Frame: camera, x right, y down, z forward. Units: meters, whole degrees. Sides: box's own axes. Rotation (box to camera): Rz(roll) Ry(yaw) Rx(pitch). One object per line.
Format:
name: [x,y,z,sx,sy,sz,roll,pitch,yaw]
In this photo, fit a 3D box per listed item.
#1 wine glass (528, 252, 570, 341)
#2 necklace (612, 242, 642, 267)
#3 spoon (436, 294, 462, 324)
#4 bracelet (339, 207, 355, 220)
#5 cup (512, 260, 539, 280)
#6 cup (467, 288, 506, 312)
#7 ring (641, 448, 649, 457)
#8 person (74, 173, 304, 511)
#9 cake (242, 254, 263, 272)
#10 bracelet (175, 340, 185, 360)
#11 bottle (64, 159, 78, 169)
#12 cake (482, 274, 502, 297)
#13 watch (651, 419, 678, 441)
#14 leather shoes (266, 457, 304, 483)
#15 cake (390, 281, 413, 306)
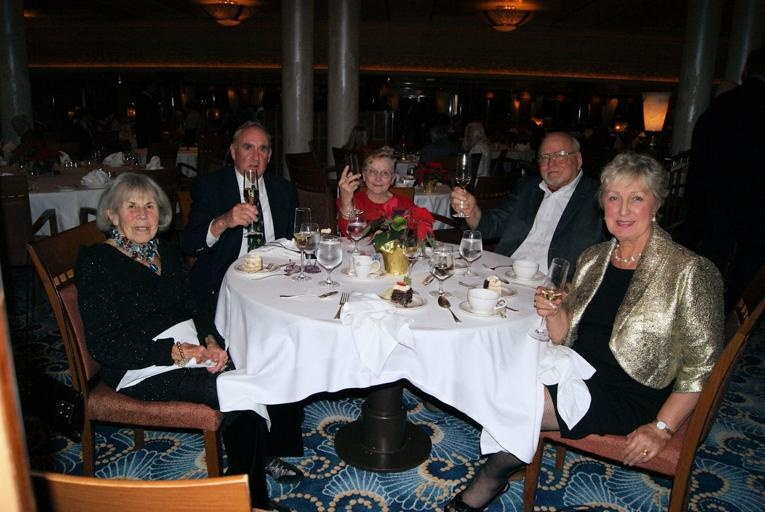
wine glass: [0.749,0.202,2.418,0.126,0.415,0.178,6,18,19]
necklace: [1.176,0.009,2.614,0.098,0.050,0.114,-3,58,25]
spoon: [0.313,0.245,2.480,0.042,0.031,0.182,-6,32,-11]
bracelet: [-0.255,-0.277,3.725,0.105,0.026,0.105,10,32,27]
cup: [0.758,0.075,2.923,0.106,0.069,0.107,1,4,0]
cup: [0.453,0.207,2.453,0.132,0.099,0.065,2,17,7]
ring: [1.119,0.826,2.291,0.033,0.034,0.008,11,-10,7]
person: [-0.995,0.432,2.651,0.991,1.583,0.620,7,18,21]
cake: [-0.692,0.036,2.859,0.095,0.069,0.094,-8,20,-20]
bracelet: [-0.960,0.454,2.545,0.057,0.075,0.046,-6,18,-19]
bottle: [-3.691,-1.074,6.344,0.132,0.049,0.105,17,19,28]
cake: [0.522,0.153,2.616,0.078,0.109,0.106,9,31,18]
watch: [1.205,0.742,2.317,0.087,0.074,0.049,7,19,23]
leather shoes: [-0.535,1.160,2.926,0.181,0.067,0.096,4,20,16]
cake: [0.086,0.181,2.543,0.100,0.105,0.105,10,16,31]
